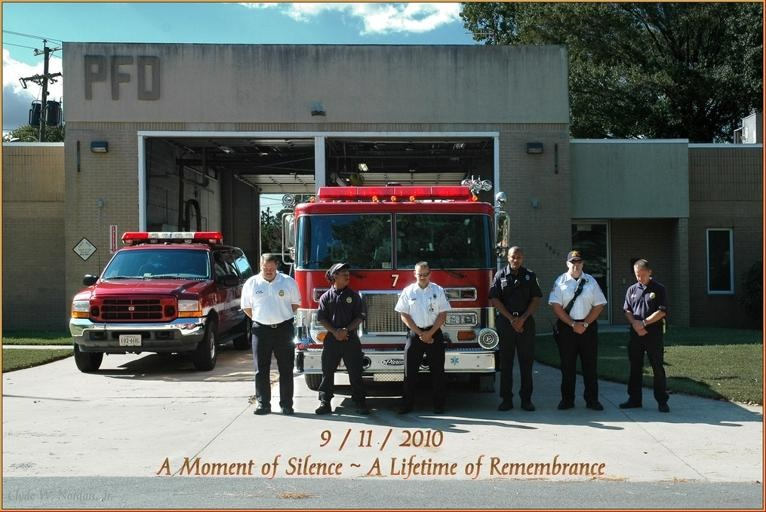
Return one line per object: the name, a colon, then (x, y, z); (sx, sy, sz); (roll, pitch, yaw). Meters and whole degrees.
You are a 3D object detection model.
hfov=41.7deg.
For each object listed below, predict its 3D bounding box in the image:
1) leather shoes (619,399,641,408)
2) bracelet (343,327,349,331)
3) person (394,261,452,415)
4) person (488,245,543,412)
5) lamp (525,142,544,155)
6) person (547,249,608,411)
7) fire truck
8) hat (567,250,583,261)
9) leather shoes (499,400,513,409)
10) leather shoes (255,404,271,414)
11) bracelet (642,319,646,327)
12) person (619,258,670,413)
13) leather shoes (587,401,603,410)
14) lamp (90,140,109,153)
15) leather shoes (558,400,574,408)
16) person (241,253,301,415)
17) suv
leather shoes: (4.944, 2.938, 20.031); (0.502, 0.218, 0.167); (2, -4, 3)
bracelet: (-0.718, 1.432, 19.560); (0.070, 0.064, 0.020); (-3, -10, 9)
person: (0.801, 1.623, 19.726); (1.033, 2.981, 0.477); (-1, 4, 0)
person: (2.650, 1.450, 20.077); (0.951, 3.229, 0.580); (-1, 4, 6)
lamp: (4.367, -3.110, 28.777); (0.564, 0.359, 0.297); (0, -7, 0)
person: (3.903, 1.486, 20.168); (1.064, 3.106, 0.798); (0, 4, 9)
fire truck: (1.117, 0.614, 23.669); (4.651, 4.347, 8.074); (-1, 3, 15)
hat: (4.429, -0.011, 23.209); (0.299, 0.219, 0.426); (4, 0, 4)
leather shoes: (2.463, 2.970, 20.013); (0.321, 0.199, 0.209); (-1, 4, -9)
leather shoes: (-2.376, 3.025, 19.875); (0.325, 0.195, 0.223); (-1, 3, -6)
bracelet: (5.200, 1.331, 19.948); (0.027, 0.109, 0.111); (4, -7, -24)
person: (5.280, 1.569, 20.147); (0.923, 2.936, 1.016); (0, 4, 15)
leather shoes: (4.228, 2.975, 19.969); (0.335, 0.169, 0.242); (0, 4, 11)
lamp: (-8.059, -3.104, 28.613); (0.599, 0.294, 0.393); (-2, -1, 1)
leather shoes: (3.665, 2.962, 20.053); (0.366, 0.165, 0.257); (-1, 3, -4)
person: (-2.197, 1.539, 20.080); (1.138, 3.147, 0.864); (-1, 4, 6)
suv: (-5.274, 1.052, 23.820); (4.029, 3.152, 2.797); (-2, 4, -16)
